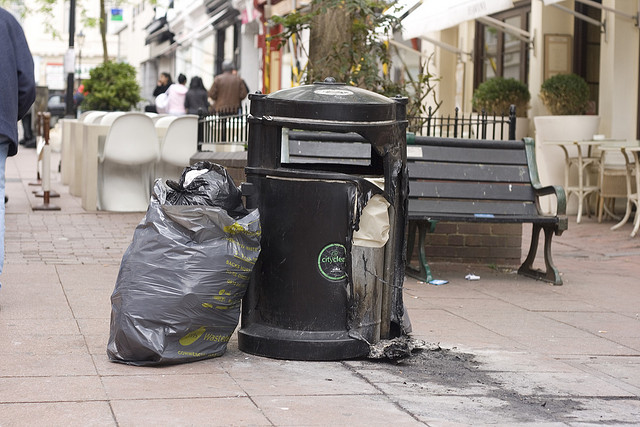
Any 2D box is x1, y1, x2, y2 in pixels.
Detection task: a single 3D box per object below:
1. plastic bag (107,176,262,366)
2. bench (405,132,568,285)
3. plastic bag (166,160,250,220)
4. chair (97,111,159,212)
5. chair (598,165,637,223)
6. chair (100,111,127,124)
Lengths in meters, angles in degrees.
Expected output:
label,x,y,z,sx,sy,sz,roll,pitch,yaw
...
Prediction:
label,x,y,z,sx,sy,sz,roll,pitch,yaw
plastic bag,-1.050,0.536,7.289,1.186,1.270,0.368,-1,5,-13
bench,1.788,-0.067,10.217,1.663,1.598,1.362,0,4,5
plastic bag,-0.928,-0.151,7.616,0.584,0.344,0.726,11,2,39
chair,-2.953,-0.739,14.617,1.028,2.093,1.339,0,2,-25
chair,4.541,-0.309,14.220,0.532,0.875,1.202,1,4,17
chair,-3.353,-1.567,15.100,0.423,0.196,0.413,0,0,0
